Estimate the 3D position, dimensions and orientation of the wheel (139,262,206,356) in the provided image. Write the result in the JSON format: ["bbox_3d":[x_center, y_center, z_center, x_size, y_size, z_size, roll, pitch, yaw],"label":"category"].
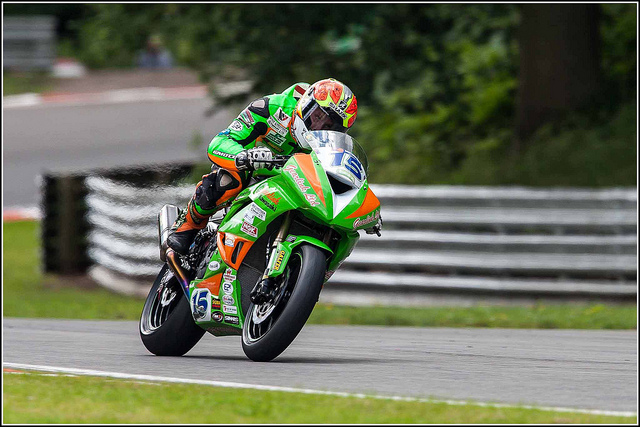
[{"bbox_3d":[-1.353,0.914,7.826,0.267,0.784,0.834,10,28,-31],"label":"wheel"}]

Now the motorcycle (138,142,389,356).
[{"bbox_3d":[-0.575,0.305,7.443,2.034,1.862,0.858,4,7,38],"label":"motorcycle"}]

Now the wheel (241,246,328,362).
[{"bbox_3d":[-0.321,0.770,6.991,0.723,1.013,0.437,0,5,6],"label":"wheel"}]
